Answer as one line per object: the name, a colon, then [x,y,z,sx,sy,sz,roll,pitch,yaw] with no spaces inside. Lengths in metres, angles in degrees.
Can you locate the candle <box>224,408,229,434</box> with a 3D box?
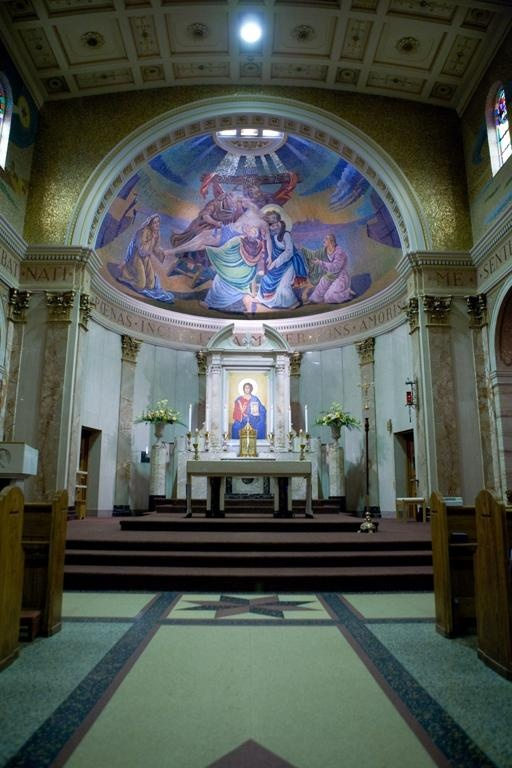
candle: [-0.832,1.034,14.203,0.067,0.640,0.189,-6,-8,28]

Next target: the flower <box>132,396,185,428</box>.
flower: [-2.363,0.771,12.751,0.841,0.542,0.861,1,-7,-3]

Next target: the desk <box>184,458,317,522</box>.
desk: [-0.171,1.833,9.304,2.099,1.065,2.206,-2,-7,-5]

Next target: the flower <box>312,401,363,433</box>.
flower: [1.968,0.872,12.965,0.872,0.648,0.881,-2,-3,37]

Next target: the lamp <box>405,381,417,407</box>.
lamp: [3.148,0.196,10.429,0.205,0.519,0.725,-5,-7,18]

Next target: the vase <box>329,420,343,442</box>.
vase: [1.977,1.189,12.821,0.224,0.476,0.624,-4,-7,12]
